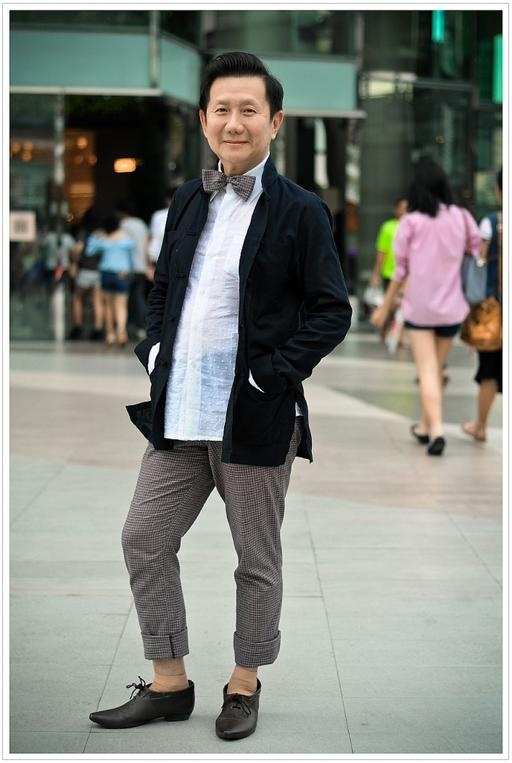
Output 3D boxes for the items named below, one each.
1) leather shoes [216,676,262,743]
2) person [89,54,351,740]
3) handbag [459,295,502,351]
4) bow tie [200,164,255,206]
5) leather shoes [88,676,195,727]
[{"bbox_3d":[-0.049,0.843,2.282,0.207,0.087,0.109,6,16,-4],"label":"leather shoes"},{"bbox_3d":[-0.070,0.043,2.280,0.584,1.749,0.410,1,0,21],"label":"person"},{"bbox_3d":[1.391,-0.353,5.310,0.245,0.360,0.577,3,10,14],"label":"handbag"},{"bbox_3d":[-0.070,-0.498,2.179,0.104,0.099,0.096,-1,13,-18],"label":"bow tie"},{"bbox_3d":[-0.300,0.839,2.326,0.298,0.127,0.104,-2,1,-8],"label":"leather shoes"}]
